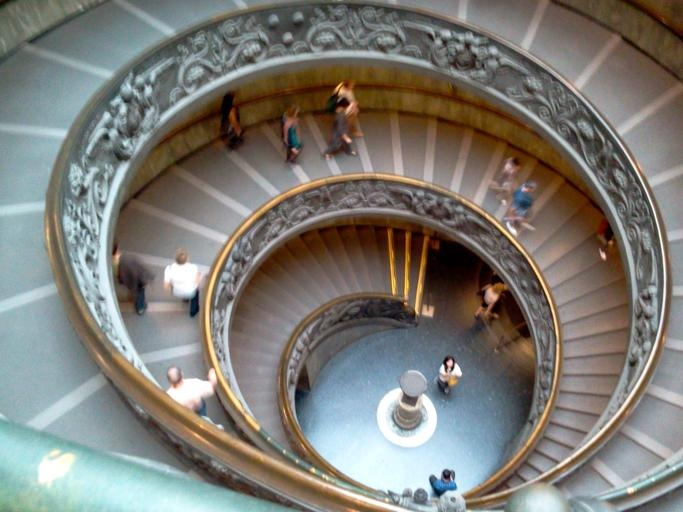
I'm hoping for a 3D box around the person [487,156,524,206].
[{"bbox_3d":[3.665,-1.617,11.164,0.501,1.067,0.758,33,81,9],"label":"person"}]

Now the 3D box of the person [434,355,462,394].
[{"bbox_3d":[2.691,3.019,12.602,0.512,1.460,0.676,-10,70,2],"label":"person"}]

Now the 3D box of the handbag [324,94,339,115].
[{"bbox_3d":[-0.204,-3.162,10.957,0.290,0.702,0.322,-3,79,-9],"label":"handbag"}]

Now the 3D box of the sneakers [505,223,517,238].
[{"bbox_3d":[3.661,-0.554,10.735,0.097,0.298,0.302,-16,88,26],"label":"sneakers"}]

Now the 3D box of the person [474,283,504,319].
[{"bbox_3d":[3.992,1.169,13.433,0.484,1.152,0.530,-24,112,26],"label":"person"}]

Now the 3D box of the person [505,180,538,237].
[{"bbox_3d":[3.858,-0.969,10.768,0.471,1.137,0.523,-44,60,-12],"label":"person"}]

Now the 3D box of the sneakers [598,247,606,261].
[{"bbox_3d":[5.381,-0.024,10.301,0.059,0.173,0.187,7,98,-26],"label":"sneakers"}]
